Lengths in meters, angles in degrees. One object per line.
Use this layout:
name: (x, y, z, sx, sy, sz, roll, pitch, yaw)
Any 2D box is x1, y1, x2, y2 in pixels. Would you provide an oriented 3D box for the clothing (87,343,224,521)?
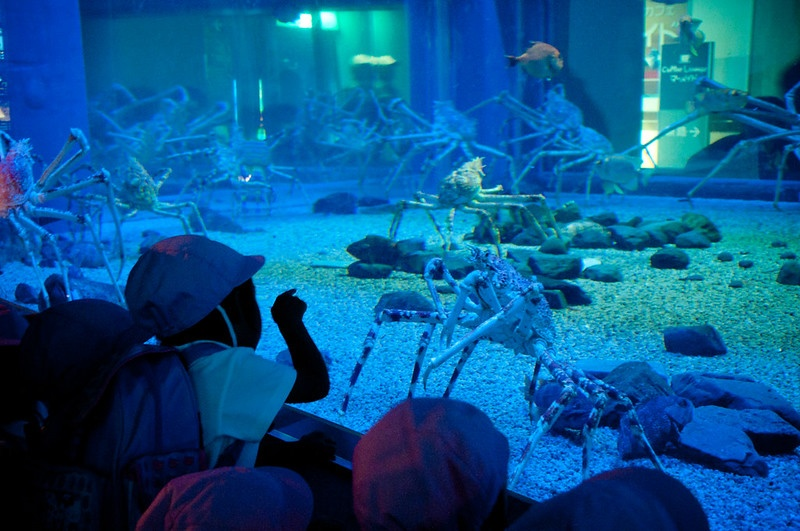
clothing: (-0.859, 0.489, 2.225, 0.458, 0.724, 0.576, 5, -11, -31)

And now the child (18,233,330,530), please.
child: (-0.772, 0.278, 2.370, 1.053, 1.086, 0.875, -9, 14, -41)
